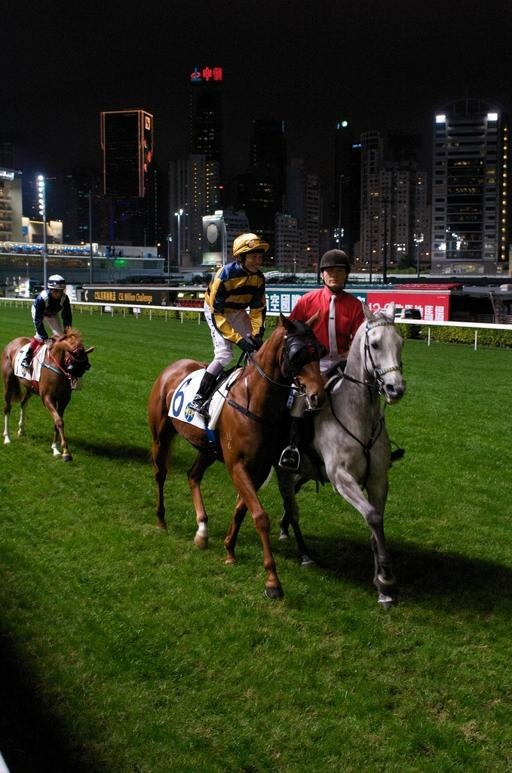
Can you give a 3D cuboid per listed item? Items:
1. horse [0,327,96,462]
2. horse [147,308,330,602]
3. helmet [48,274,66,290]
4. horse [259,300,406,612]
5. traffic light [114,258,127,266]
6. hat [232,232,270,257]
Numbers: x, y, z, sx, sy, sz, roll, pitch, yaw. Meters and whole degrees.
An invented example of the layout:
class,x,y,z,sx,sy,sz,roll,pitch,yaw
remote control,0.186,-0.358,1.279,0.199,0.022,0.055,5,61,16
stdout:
class,x,y,z,sx,sy,sz,roll,pitch,yaw
horse,-1.987,-0.002,7.099,0.516,1.096,1.741,-5,9,-29
horse,-0.199,0.329,4.285,0.392,1.304,1.875,1,1,-30
helmet,-1.754,-0.910,6.828,0.144,0.132,0.200,1,12,-36
horse,0.410,0.299,3.791,0.477,1.368,1.045,-2,8,-11
traffic light,-13.576,-12.244,77.131,1.050,0.994,4.354,-2,8,-10
hat,-0.031,-0.739,4.096,0.169,0.091,0.115,-3,8,43
